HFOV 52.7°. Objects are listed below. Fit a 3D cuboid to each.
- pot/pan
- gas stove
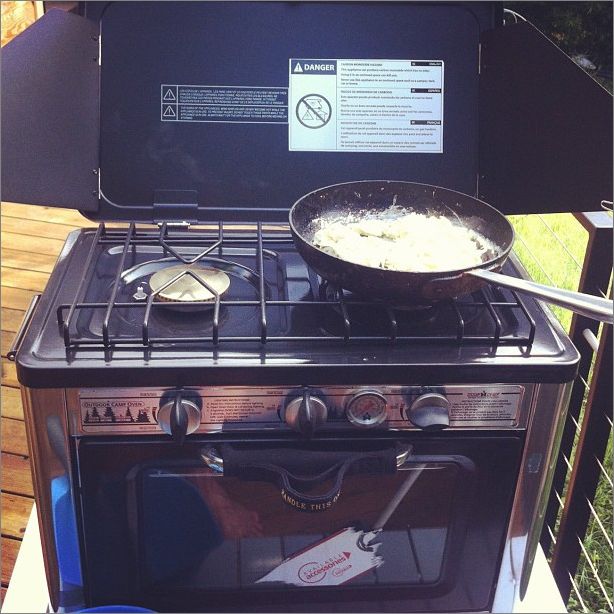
[{"bbox_3d":[0.200,-0.109,1.059,0.522,0.077,0.295,30,35,34],"label":"pot/pan"},{"bbox_3d":[-0.030,-0.044,1.130,0.896,0.120,0.514,-1,26,-3],"label":"gas stove"}]
